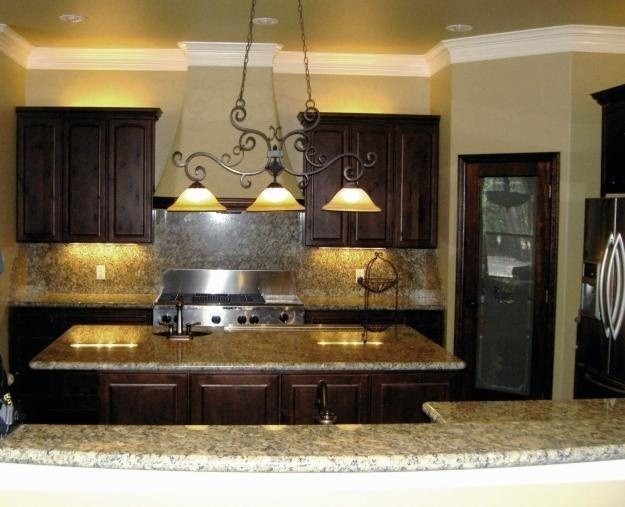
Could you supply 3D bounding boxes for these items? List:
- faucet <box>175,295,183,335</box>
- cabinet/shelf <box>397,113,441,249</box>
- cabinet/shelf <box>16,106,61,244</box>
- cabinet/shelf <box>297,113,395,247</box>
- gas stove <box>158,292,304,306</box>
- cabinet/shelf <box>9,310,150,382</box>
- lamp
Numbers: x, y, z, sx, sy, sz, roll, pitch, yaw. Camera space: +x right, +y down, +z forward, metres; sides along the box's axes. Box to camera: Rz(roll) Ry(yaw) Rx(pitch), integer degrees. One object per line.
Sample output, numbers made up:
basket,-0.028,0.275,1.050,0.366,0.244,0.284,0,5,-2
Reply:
faucet,-0.867,0.420,4.108,0.047,0.215,0.172,0,4,-12
cabinet/shelf,0.968,-0.646,5.913,0.455,1.295,0.176,0,21,4
cabinet/shelf,-2.482,-0.700,5.752,0.414,1.226,0.203,1,4,-13
cabinet/shelf,0.300,-0.583,5.995,0.881,1.251,0.475,3,-12,-13
gas stove,-0.767,0.417,5.768,1.293,0.035,0.738,0,4,-8
cabinet/shelf,-1.658,0.641,4.492,0.601,0.577,0.212,0,2,-5
lamp,-0.403,-1.228,5.270,1.578,2.332,0.493,0,4,-6
